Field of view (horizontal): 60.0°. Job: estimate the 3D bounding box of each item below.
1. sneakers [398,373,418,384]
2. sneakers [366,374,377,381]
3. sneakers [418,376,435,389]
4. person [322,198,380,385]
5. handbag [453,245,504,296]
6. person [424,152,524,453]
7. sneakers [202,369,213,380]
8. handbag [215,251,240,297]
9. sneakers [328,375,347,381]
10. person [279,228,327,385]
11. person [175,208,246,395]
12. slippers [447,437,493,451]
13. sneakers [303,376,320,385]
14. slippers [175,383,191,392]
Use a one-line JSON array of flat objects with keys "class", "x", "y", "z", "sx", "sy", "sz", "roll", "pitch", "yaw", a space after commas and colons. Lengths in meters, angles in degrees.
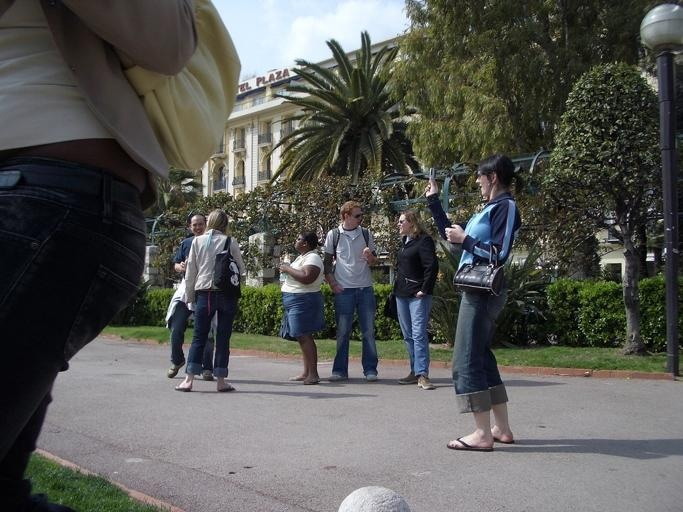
[{"class": "sneakers", "x": 0.969, "y": 1.797, "z": 8.624, "sx": 0.330, "sy": 0.172, "sz": 0.121, "roll": 3, "pitch": -5, "yaw": -16}, {"class": "sneakers", "x": 0.457, "y": 1.848, "z": 8.946, "sx": 0.062, "sy": 0.086, "sz": 0.190, "roll": 1, "pitch": -19, "yaw": -8}, {"class": "sneakers", "x": 1.149, "y": 1.768, "z": 8.177, "sx": 0.094, "sy": 0.145, "sz": 0.286, "roll": 0, "pitch": -10, "yaw": -16}, {"class": "person", "x": 0.139, "y": 0.540, "z": 9.035, "sx": 0.869, "sy": 2.732, "sz": 0.480, "roll": 2, "pitch": -7, "yaw": -1}, {"class": "handbag", "x": 1.175, "y": 0.129, "z": 5.053, "sx": 0.405, "sy": 0.407, "sz": 0.280, "roll": 0, "pitch": -7, "yaw": 17}, {"class": "person", "x": 1.228, "y": 0.379, "z": 5.317, "sx": 0.691, "sy": 2.607, "sz": 0.824, "roll": 1, "pitch": -7, "yaw": 9}, {"class": "sneakers", "x": -2.007, "y": 1.783, "z": 8.848, "sx": 0.155, "sy": 0.190, "sz": 0.402, "roll": 3, "pitch": -13, "yaw": -17}, {"class": "handbag", "x": -1.557, "y": 0.260, "z": 7.943, "sx": 0.181, "sy": 0.642, "sz": 0.442, "roll": -6, "pitch": -12, "yaw": 34}, {"class": "sneakers", "x": -0.054, "y": 1.860, "z": 9.003, "sx": 0.296, "sy": 0.146, "sz": 0.111, "roll": 14, "pitch": -15, "yaw": -35}, {"class": "person", "x": -0.602, "y": 0.739, "z": 8.859, "sx": 0.667, "sy": 2.308, "sz": 0.556, "roll": 2, "pitch": -7, "yaw": -1}, {"class": "person", "x": -1.862, "y": 0.648, "z": 8.226, "sx": 0.818, "sy": 2.590, "sz": 0.852, "roll": 5, "pitch": -20, "yaw": -24}, {"class": "slippers", "x": 1.077, "y": 1.598, "z": 4.946, "sx": 0.287, "sy": 0.083, "sz": 0.149, "roll": 4, "pitch": -10, "yaw": 3}, {"class": "sneakers", "x": -0.439, "y": 1.831, "z": 8.643, "sx": 0.178, "sy": 0.090, "sz": 0.097, "roll": 9, "pitch": -14, "yaw": -23}, {"class": "slippers", "x": -2.087, "y": 1.733, "z": 7.766, "sx": 0.159, "sy": 0.082, "sz": 0.089, "roll": 8, "pitch": -5, "yaw": 20}]
